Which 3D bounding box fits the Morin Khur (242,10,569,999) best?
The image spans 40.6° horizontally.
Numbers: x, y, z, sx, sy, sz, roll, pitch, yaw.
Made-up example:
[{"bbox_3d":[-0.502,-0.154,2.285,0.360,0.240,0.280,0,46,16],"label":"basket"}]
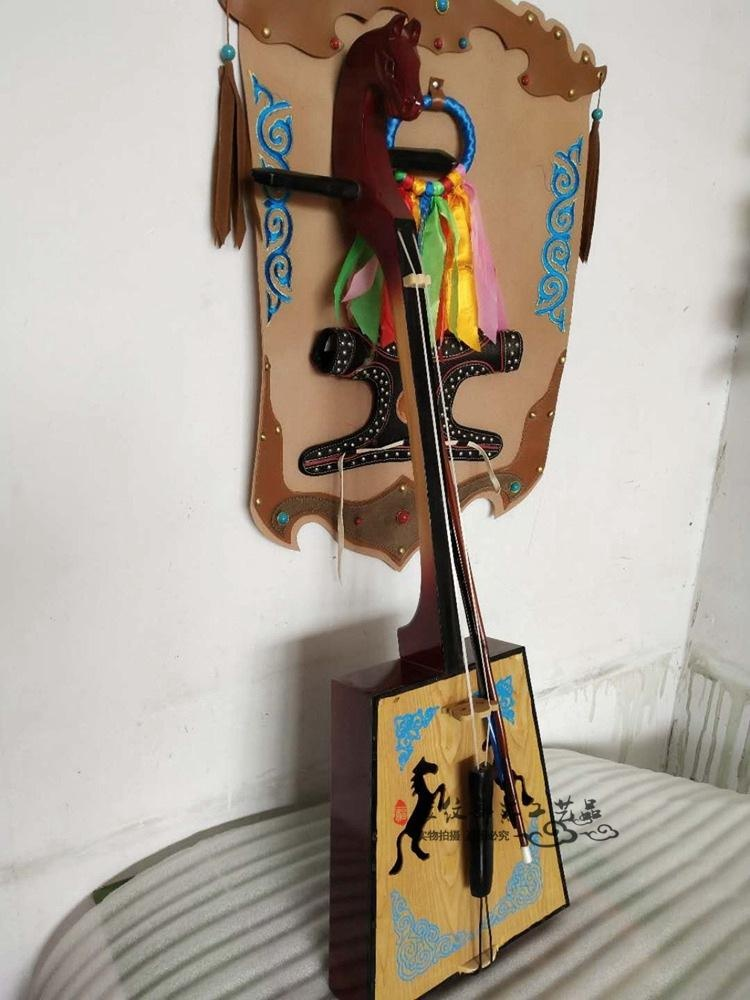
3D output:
[{"bbox_3d":[0.050,0.092,1.114,0.313,0.319,1.104,-15,-59,-32],"label":"Morin Khur"}]
